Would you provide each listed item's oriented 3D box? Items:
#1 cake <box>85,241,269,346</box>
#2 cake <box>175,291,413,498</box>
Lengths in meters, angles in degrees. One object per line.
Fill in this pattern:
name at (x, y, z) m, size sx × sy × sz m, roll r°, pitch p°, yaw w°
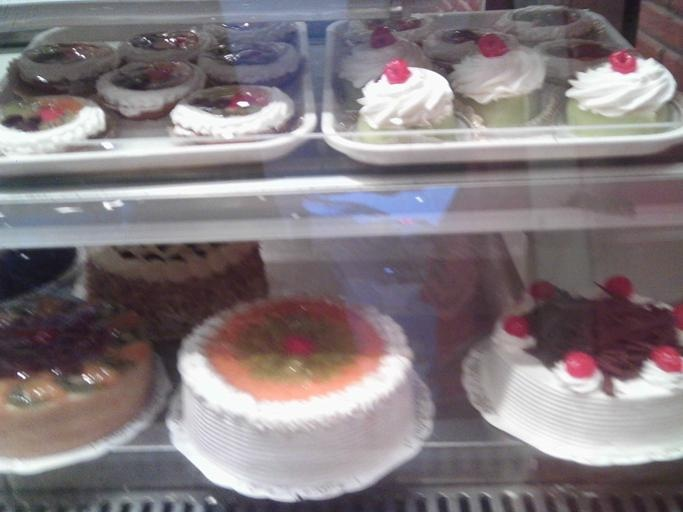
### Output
cake at (-0.350, 0.057, 1.426) m, size 0.277 × 0.170 × 0.255 m, roll -1°, pitch 23°, yaw 2°
cake at (-0.091, 0.275, 1.254) m, size 0.456 × 0.192 × 0.338 m, roll -1°, pitch 42°, yaw 7°
